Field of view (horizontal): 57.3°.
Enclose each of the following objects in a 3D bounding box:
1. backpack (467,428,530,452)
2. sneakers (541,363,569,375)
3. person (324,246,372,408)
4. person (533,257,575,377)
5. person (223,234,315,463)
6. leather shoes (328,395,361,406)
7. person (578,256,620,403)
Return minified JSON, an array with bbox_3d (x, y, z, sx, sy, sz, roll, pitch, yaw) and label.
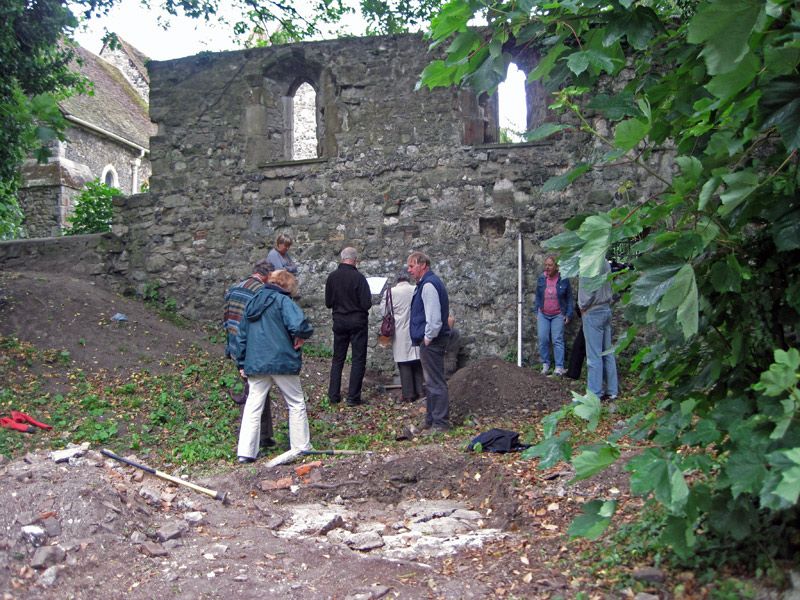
[{"bbox_3d":[0.982,1.384,7.354,0.535,0.161,0.417,-1,0,23],"label":"backpack"},{"bbox_3d":[2.148,0.971,10.339,0.416,0.173,0.141,0,1,19],"label":"sneakers"},{"bbox_3d":[-0.689,0.352,9.808,0.576,2.063,0.758,-1,12,-2],"label":"person"},{"bbox_3d":[2.169,0.234,10.368,0.495,1.691,0.845,0,12,4],"label":"person"},{"bbox_3d":[-1.420,0.635,7.918,0.850,1.956,1.015,-3,13,-13],"label":"person"},{"bbox_3d":[-0.725,1.326,9.770,0.456,0.186,0.150,-2,-2,14],"label":"leather shoes"},{"bbox_3d":[2.450,0.483,9.069,0.524,1.394,0.773,3,13,14],"label":"person"}]
